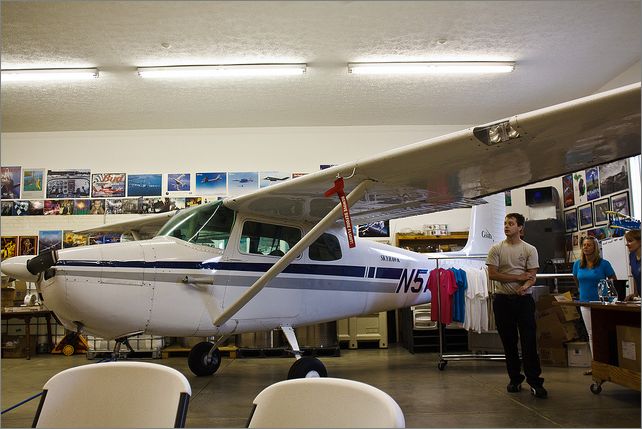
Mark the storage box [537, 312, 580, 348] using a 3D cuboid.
[{"bbox_3d":[3.861,1.870,9.047,0.630,0.561,0.390,-13,-12,38],"label":"storage box"}]

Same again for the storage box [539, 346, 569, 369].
[{"bbox_3d":[3.702,2.271,8.923,0.300,0.307,0.536,3,-6,-36],"label":"storage box"}]

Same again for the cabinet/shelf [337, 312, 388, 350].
[{"bbox_3d":[0.769,2.170,10.735,0.863,0.709,0.462,6,-11,-33],"label":"cabinet/shelf"}]

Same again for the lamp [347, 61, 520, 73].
[{"bbox_3d":[1.905,-2.582,9.780,2.843,0.146,0.306,-1,0,0],"label":"lamp"}]

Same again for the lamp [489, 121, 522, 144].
[{"bbox_3d":[1.957,-0.885,5.999,0.275,0.086,0.193,-23,-54,34],"label":"lamp"}]

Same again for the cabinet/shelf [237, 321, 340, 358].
[{"bbox_3d":[-0.483,2.011,8.689,1.159,0.310,0.713,-1,-40,2],"label":"cabinet/shelf"}]

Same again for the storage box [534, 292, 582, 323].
[{"bbox_3d":[3.816,1.571,9.104,0.548,0.337,0.550,8,-27,-45],"label":"storage box"}]

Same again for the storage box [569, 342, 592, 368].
[{"bbox_3d":[3.977,2.234,8.855,0.422,0.341,0.347,9,-18,-25],"label":"storage box"}]

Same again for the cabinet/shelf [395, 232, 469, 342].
[{"bbox_3d":[2.053,1.522,11.443,1.861,1.579,0.926,-6,-27,36],"label":"cabinet/shelf"}]

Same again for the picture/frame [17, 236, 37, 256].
[{"bbox_3d":[-5.821,0.633,11.106,0.440,0.422,0.037,-3,-16,-14],"label":"picture/frame"}]

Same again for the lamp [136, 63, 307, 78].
[{"bbox_3d":[-1.721,-2.537,9.778,2.927,0.201,0.293,-1,0,-2],"label":"lamp"}]

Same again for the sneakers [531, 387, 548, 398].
[{"bbox_3d":[2.841,2.297,7.241,0.198,0.090,0.156,-1,0,19],"label":"sneakers"}]
